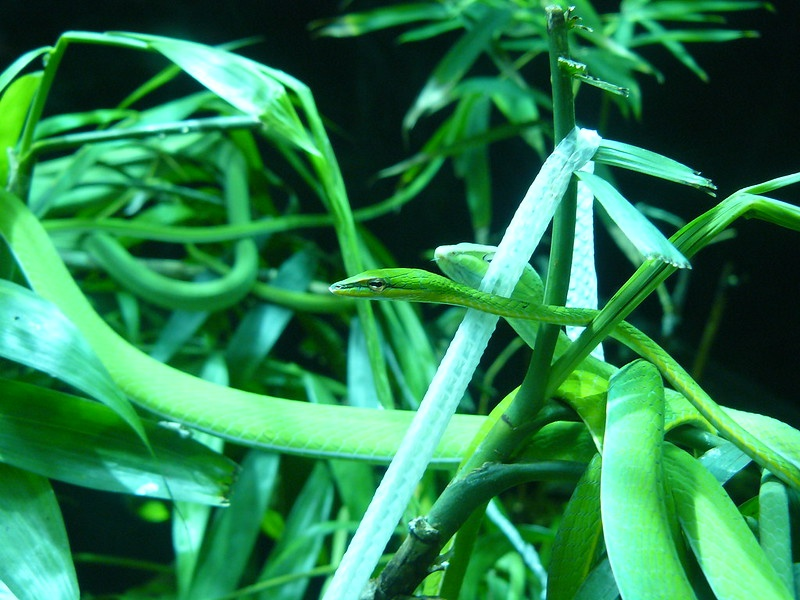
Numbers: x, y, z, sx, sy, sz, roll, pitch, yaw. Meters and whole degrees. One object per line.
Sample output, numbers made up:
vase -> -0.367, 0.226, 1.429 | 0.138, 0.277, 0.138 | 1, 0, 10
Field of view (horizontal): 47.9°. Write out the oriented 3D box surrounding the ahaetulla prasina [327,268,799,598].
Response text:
ahaetulla prasina -> 0.206, 0.112, 1.206 | 0.486, 0.442, 0.153 | 6, -68, 28
